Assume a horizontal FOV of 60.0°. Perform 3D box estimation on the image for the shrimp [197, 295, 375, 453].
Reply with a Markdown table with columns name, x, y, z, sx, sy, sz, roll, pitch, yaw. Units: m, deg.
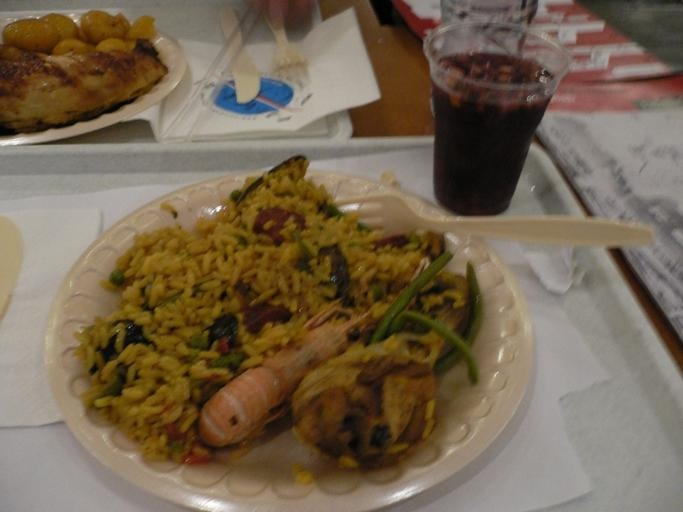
| name | x | y | z | sx | sy | sz | roll | pitch | yaw |
| --- | --- | --- | --- | --- | --- | --- | --- | --- | --- |
| shrimp | -0.096 | 0.222 | 1.067 | 0.358 | 0.116 | 0.076 | -27 | 57 | -15 |

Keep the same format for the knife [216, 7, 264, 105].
| name | x | y | z | sx | sy | sz | roll | pitch | yaw |
| --- | --- | --- | --- | --- | --- | --- | --- | --- | --- |
| knife | -0.357 | -0.719 | 2.068 | 0.097 | 0.099 | 0.663 | -13 | 57 | -6 |
